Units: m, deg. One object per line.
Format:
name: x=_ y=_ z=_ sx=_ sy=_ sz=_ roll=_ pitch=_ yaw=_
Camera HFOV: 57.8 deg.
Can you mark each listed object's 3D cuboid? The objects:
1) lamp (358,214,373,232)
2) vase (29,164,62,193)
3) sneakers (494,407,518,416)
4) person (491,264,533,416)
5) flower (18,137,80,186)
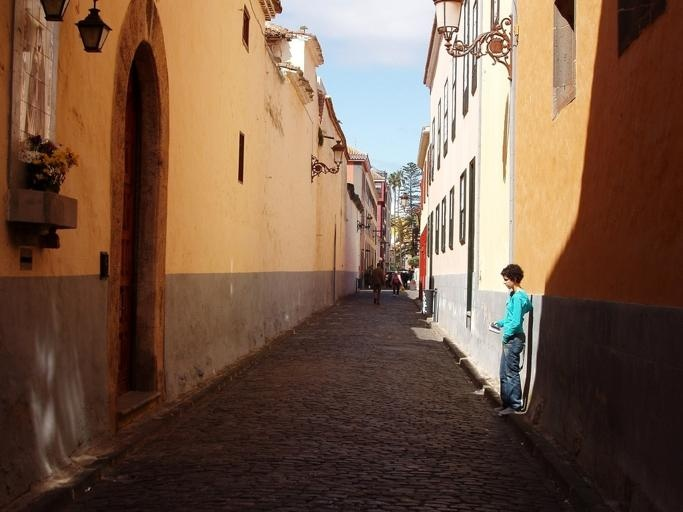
lamp: x=2.271 y=-3.169 z=58.832 sx=0.684 sy=2.317 sz=4.468 roll=1 pitch=2 yaw=16
vase: x=-2.470 y=-0.658 z=5.142 sx=0.172 sy=0.134 sz=0.198 roll=16 pitch=37 yaw=-6
sneakers: x=2.185 y=2.037 z=8.159 sx=0.256 sy=0.143 sz=0.103 roll=5 pitch=-10 yaw=-6
person: x=2.288 y=1.114 z=8.232 sx=0.498 sy=1.669 sz=0.707 roll=1 pitch=0 yaw=20
flower: x=-2.474 y=-0.799 z=5.217 sx=0.349 sy=0.330 sz=0.351 roll=18 pitch=13 yaw=-1
